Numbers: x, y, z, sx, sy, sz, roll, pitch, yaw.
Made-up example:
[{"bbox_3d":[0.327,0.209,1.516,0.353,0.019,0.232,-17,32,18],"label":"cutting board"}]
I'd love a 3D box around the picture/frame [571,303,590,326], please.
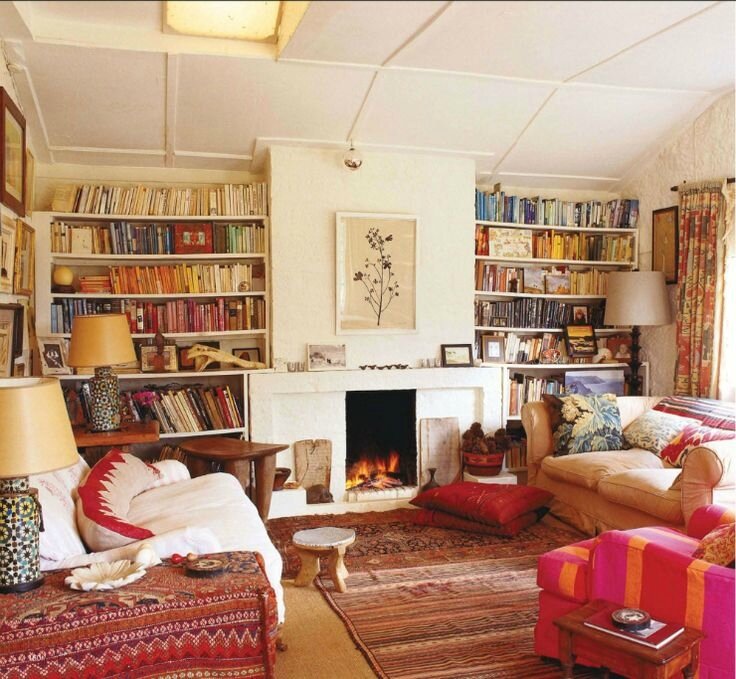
[{"bbox_3d":[1.899,-0.215,5.627,0.228,0.244,0.030,4,-6,-26],"label":"picture/frame"}]

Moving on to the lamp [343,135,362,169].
[{"bbox_3d":[-0.113,-1.398,4.760,0.150,0.216,0.226,0,2,-1],"label":"lamp"}]

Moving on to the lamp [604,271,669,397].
[{"bbox_3d":[2.259,-0.049,5.260,0.493,1.050,0.602,1,3,23],"label":"lamp"}]

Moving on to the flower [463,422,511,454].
[{"bbox_3d":[0.932,0.788,5.043,0.324,0.223,0.254,-1,2,-19],"label":"flower"}]

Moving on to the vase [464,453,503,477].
[{"bbox_3d":[0.915,0.975,4.962,0.242,0.116,0.218,-4,-4,32],"label":"vase"}]

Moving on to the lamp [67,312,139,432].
[{"bbox_3d":[-1.655,0.212,3.916,0.426,0.664,0.410,-3,-2,-43],"label":"lamp"}]

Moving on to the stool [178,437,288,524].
[{"bbox_3d":[-0.880,0.782,4.063,0.733,0.598,0.647,1,4,14],"label":"stool"}]

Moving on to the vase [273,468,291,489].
[{"bbox_3d":[-0.632,1.025,4.623,0.158,0.081,0.142,2,-1,-10],"label":"vase"}]

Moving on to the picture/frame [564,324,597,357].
[{"bbox_3d":[1.854,0.014,5.512,0.322,0.266,0.050,7,-21,-15],"label":"picture/frame"}]

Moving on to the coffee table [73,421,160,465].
[{"bbox_3d":[-1.495,0.528,3.756,0.462,0.250,0.223,-1,13,-13],"label":"coffee table"}]

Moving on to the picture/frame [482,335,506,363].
[{"bbox_3d":[1.075,0.079,5.389,0.198,0.234,0.138,0,2,6],"label":"picture/frame"}]

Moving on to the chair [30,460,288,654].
[{"bbox_3d":[-0.907,0.762,2.776,0.877,0.629,1.641,-5,7,-21],"label":"chair"}]

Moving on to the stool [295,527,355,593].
[{"bbox_3d":[-0.233,1.198,3.406,0.363,0.241,0.333,1,0,-3],"label":"stool"}]
